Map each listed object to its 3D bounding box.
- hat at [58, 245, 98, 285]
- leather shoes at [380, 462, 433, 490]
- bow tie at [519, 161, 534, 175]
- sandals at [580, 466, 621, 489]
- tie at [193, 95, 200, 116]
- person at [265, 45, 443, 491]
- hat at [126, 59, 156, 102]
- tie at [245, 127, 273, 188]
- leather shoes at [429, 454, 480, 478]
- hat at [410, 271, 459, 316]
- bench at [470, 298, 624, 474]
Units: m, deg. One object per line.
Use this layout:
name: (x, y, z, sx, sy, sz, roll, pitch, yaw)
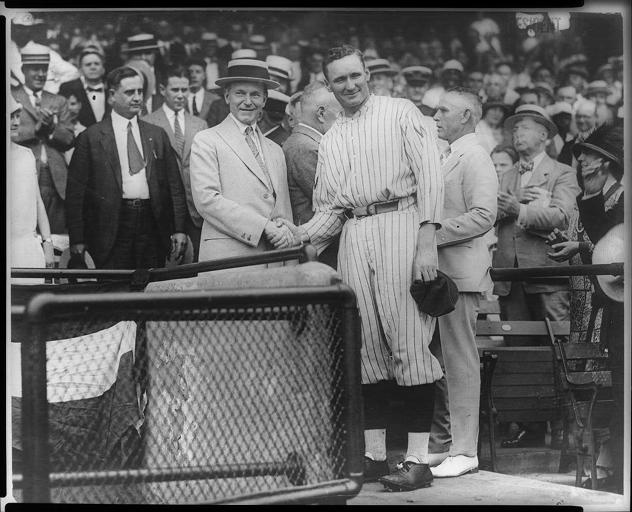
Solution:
hat: (-1.263, 0.051, 8.093, 0.195, 0.198, 0.046, 21, -3, 8)
leather shoes: (0.474, 1.133, 7.777, 0.265, 0.115, 0.113, 3, -12, -24)
bow tie: (1.161, -0.494, 8.349, 0.070, 0.066, 0.026, 3, 2, 19)
sandals: (1.536, 1.184, 8.122, 0.197, 0.056, 0.117, 0, -3, -16)
tie: (-0.655, -0.813, 8.240, 0.048, 0.076, 0.018, -1, 19, 2)
person: (0.313, 0.044, 7.922, 0.691, 2.302, 0.283, -2, -2, 32)
hat: (-0.938, -0.946, 8.119, 0.183, 0.189, 0.052, 20, 31, 31)
tie: (-0.317, -0.527, 8.238, 0.051, 0.342, 0.041, -19, -7, -32)
leather shoes: (0.737, 1.116, 7.994, 0.266, 0.107, 0.095, 0, -7, -11)
hat: (0.623, 0.195, 7.774, 0.104, 0.189, 0.227, -17, 35, -43)
bench: (1.230, 0.755, 8.203, 0.657, 0.868, 0.776, 0, -5, -34)
